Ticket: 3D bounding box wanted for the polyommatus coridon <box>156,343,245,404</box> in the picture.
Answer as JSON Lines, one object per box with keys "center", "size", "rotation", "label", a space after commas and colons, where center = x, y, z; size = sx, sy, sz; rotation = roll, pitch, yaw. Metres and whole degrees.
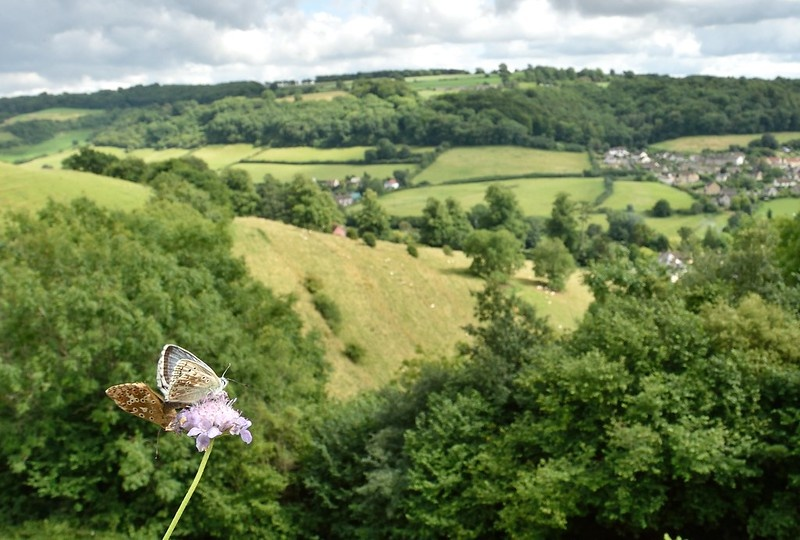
{"center": [-13.652, 6.645, 45.467], "size": [3.630, 3.933, 1.064], "rotation": [-6, 18, -2], "label": "polyommatus coridon"}
